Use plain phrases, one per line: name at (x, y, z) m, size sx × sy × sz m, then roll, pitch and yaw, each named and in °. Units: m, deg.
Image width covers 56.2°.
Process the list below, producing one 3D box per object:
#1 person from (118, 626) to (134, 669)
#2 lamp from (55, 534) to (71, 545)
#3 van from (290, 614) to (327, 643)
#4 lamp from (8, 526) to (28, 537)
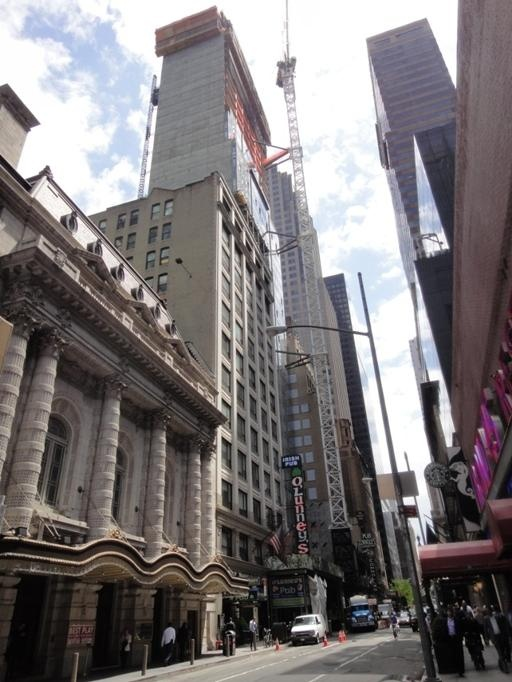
person at (-5.768, 13.604, 21.221) m, size 0.507 × 1.432 × 2.157 m, roll 2°, pitch -29°, yaw -13°
lamp at (-8.281, 8.582, 20.748) m, size 0.297 × 0.419 × 0.988 m, roll -5°, pitch -29°, yaw 0°
van at (3.448, 19.636, 32.614) m, size 1.884 × 1.687 × 3.514 m, roll -7°, pitch -46°, yaw 7°
lamp at (-8.202, 6.609, 16.553) m, size 0.560 × 0.373 × 1.119 m, roll 6°, pitch -30°, yaw -19°
